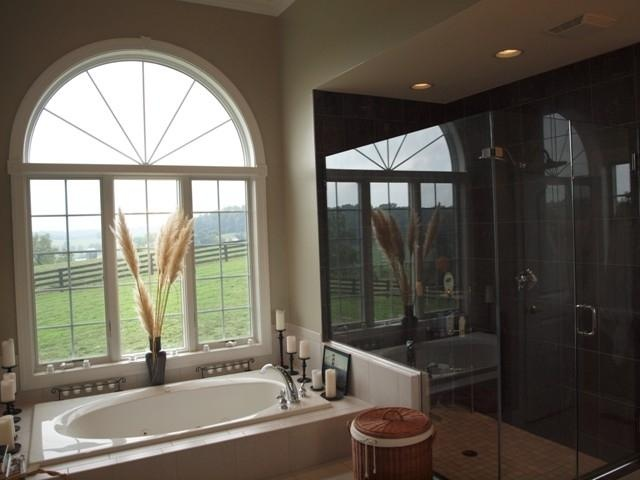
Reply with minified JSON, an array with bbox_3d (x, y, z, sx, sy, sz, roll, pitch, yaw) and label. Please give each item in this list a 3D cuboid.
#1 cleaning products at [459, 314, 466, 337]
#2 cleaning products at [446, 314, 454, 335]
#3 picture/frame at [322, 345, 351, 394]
[{"bbox_3d":[1.054,0.634,3.777,0.057,0.157,0.019,-4,2,23],"label":"cleaning products"},{"bbox_3d":[0.974,0.632,3.797,0.064,0.149,0.018,-5,2,8],"label":"cleaning products"},{"bbox_3d":[0.145,1.096,4.269,0.024,0.324,0.373,3,1,-25],"label":"picture/frame"}]
